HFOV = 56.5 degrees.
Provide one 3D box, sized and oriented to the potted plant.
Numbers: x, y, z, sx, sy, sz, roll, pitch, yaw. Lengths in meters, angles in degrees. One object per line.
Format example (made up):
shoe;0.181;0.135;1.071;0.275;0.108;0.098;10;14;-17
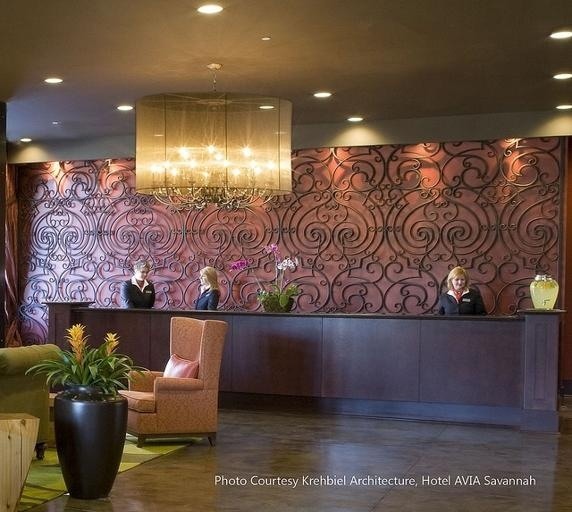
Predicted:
potted plant;-1.220;0.640;3.298;0.542;0.421;0.401;0;-1;-16

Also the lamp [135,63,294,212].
lamp;-0.699;-1.159;5.804;1.393;1.184;1.356;0;-4;3

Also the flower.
flower;-0.217;0.286;6.881;0.887;0.911;1.713;0;-1;-4

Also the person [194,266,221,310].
person;-0.987;0.405;6.709;0.298;0.526;0.876;0;-1;-9

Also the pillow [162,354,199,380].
pillow;-0.896;0.980;4.605;0.224;0.217;0.067;1;-32;32

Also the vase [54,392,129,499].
vase;-1.137;1.104;3.111;0.394;0.589;0.216;0;-1;-18

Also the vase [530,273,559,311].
vase;2.552;0.366;5.279;0.240;0.342;0.214;-1;-1;10

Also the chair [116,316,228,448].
chair;-1.006;1.134;5.004;1.037;1.243;1.043;5;-11;-25
